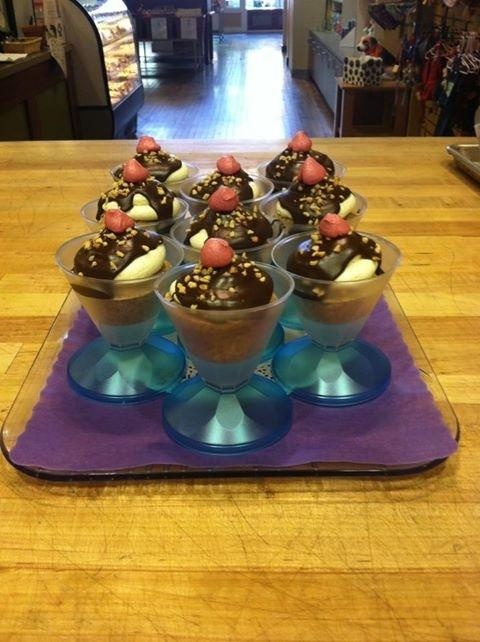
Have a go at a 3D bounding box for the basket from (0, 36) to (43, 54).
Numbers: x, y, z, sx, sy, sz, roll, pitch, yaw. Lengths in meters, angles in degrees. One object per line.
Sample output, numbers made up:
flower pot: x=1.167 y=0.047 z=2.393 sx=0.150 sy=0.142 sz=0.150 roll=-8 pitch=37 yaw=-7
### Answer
basket: x=-1.321 y=-1.697 z=3.237 sx=0.175 sy=0.088 sz=0.355 roll=2 pitch=30 yaw=4

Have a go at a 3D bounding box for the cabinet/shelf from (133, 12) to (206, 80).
cabinet/shelf: x=-0.954 y=-4.042 z=7.672 sx=1.043 sy=0.843 sz=1.362 roll=-3 pitch=31 yaw=-6
